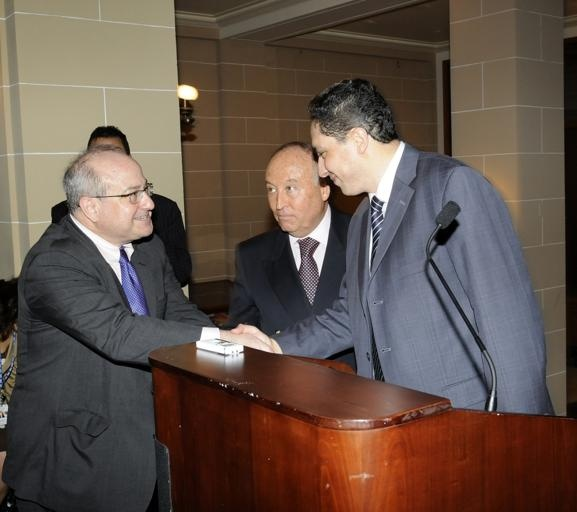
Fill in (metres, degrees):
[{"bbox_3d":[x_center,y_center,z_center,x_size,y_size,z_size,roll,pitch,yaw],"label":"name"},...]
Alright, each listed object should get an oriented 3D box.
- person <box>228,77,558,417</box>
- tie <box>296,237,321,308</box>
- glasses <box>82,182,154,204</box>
[{"bbox_3d":[0.361,0.105,1.735,0.834,1.379,0.648,-10,9,45],"label":"person"},{"bbox_3d":[0.098,0.061,2.338,0.119,0.289,0.082,-4,-5,5],"label":"tie"},{"bbox_3d":[-0.692,-0.266,2.032,0.136,0.037,0.134,-11,-2,17],"label":"glasses"}]
